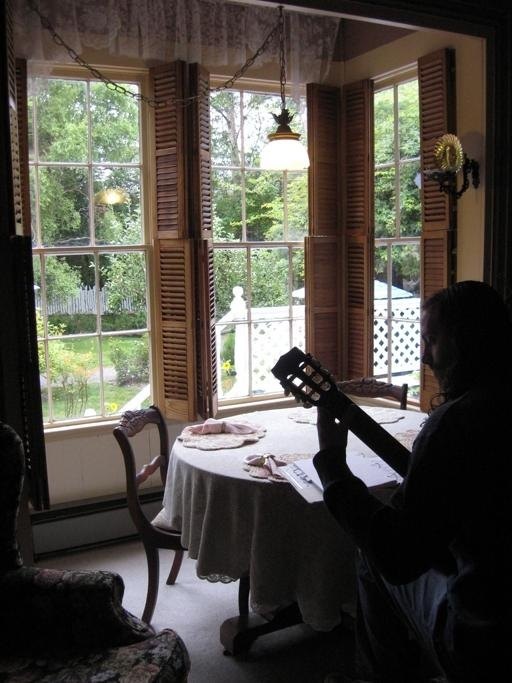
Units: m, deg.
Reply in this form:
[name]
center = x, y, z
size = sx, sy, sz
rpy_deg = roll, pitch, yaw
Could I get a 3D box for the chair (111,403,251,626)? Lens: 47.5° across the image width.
[chair]
center = -0.260, 0.705, 2.395
size = 0.555, 0.856, 0.568
rpy_deg = -3, 6, -5

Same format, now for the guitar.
[guitar]
center = 0.333, 0.252, 2.115
size = 0.502, 0.120, 0.091
rpy_deg = 43, -2, 2
